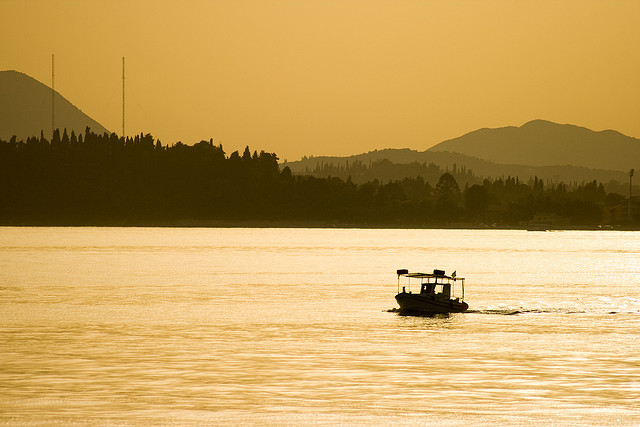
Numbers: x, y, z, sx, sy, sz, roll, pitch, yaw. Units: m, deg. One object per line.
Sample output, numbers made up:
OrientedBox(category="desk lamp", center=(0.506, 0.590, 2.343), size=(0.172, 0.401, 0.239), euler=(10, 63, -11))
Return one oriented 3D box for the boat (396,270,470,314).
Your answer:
OrientedBox(category="boat", center=(16.902, 11.357, 189.704), size=(11.985, 5.878, 5.549), euler=(0, 3, -29))
